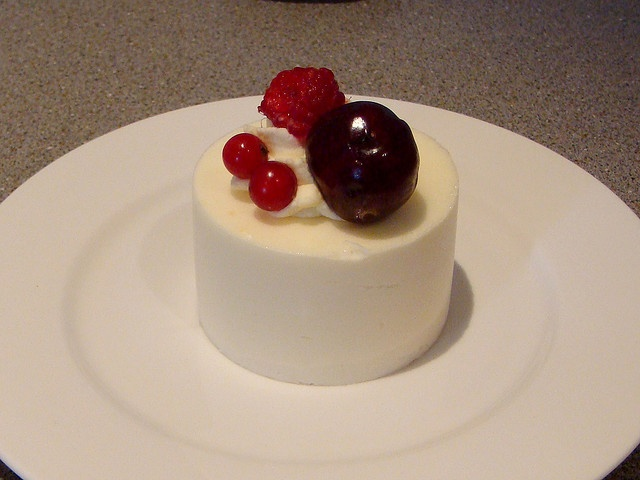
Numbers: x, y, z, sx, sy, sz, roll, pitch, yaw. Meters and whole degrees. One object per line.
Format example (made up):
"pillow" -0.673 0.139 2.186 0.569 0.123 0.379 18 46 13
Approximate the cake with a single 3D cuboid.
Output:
"cake" 0.007 -0.084 1.638 0.592 0.636 0.638 2 -62 1
